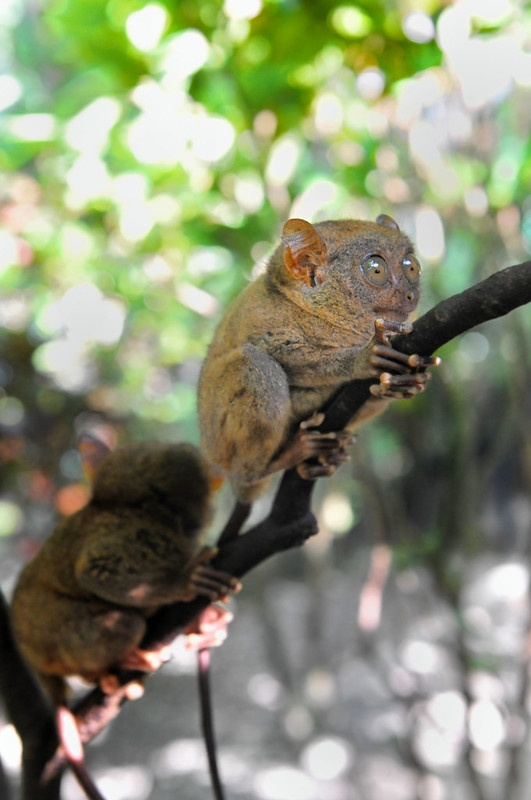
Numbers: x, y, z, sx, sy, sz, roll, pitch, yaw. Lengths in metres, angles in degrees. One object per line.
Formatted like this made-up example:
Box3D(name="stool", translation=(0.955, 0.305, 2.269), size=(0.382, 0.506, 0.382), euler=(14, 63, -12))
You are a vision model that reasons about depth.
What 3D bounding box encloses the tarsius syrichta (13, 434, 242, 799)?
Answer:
Box3D(name="tarsius syrichta", translation=(-0.362, 0.454, 1.891), size=(0.412, 0.652, 0.545), euler=(18, 29, 34))
